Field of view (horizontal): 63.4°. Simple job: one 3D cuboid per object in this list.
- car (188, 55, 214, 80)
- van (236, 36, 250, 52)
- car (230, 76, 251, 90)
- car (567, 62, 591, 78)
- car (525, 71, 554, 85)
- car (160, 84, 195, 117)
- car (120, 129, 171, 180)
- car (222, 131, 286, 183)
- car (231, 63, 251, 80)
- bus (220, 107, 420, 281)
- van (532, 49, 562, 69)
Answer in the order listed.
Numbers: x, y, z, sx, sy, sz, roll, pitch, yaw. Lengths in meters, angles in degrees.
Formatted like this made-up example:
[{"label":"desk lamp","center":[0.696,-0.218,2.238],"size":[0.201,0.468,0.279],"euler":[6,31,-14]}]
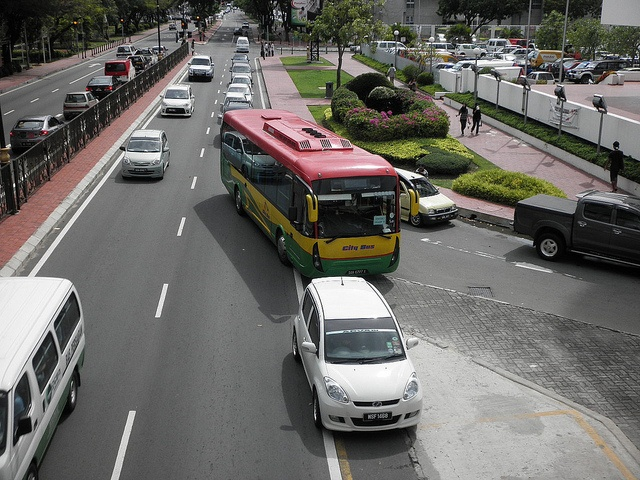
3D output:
[{"label":"car","center":[-12.086,-17.602,52.690],"size":[1.699,1.658,3.681],"euler":[-2,18,-8]},{"label":"van","center":[-12.227,-30.858,81.186],"size":[2.305,2.366,4.441],"euler":[-2,22,-7]},{"label":"car","center":[-6.523,-13.325,42.763],"size":[1.426,1.247,2.684],"euler":[-3,18,-11]},{"label":"car","center":[27.871,-18.146,55.687],"size":[2.971,1.430,1.393],"euler":[-13,23,-31]},{"label":"car","center":[21.205,-15.690,49.761],"size":[3.212,0.934,1.901],"euler":[-12,26,-26]},{"label":"car","center":[-10.283,-9.968,37.193],"size":[1.936,1.903,2.258],"euler":[-1,22,-3]},{"label":"car","center":[-8.443,-4.063,24.952],"size":[1.853,1.968,2.203],"euler":[-1,22,-3]},{"label":"car","center":[-2.481,-3.215,20.252],"size":[1.479,1.443,4.231],"euler":[-14,31,-26]},{"label":"car","center":[-7.833,-17.328,51.309],"size":[2.149,1.796,4.388],"euler":[-2,23,-11]},{"label":"bus","center":[-0.831,-2.222,18.996],"size":[3.305,3.742,9.840],"euler":[-7,27,-19]},{"label":"van","center":[28.231,-22.319,64.171],"size":[4.210,2.272,2.301],"euler":[-7,23,-3]}]
